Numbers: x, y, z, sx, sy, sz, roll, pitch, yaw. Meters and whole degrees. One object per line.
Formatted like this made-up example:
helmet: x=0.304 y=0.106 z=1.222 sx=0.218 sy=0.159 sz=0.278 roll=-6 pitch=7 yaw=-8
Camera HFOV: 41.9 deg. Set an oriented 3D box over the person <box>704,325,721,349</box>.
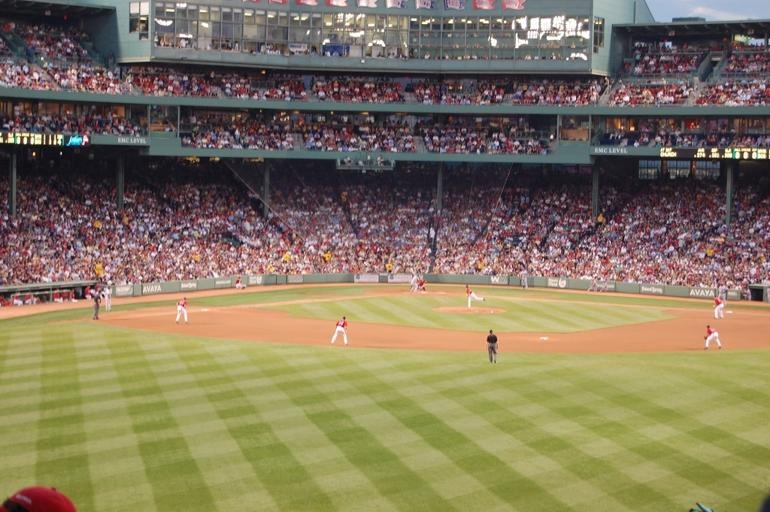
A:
person: x=22.391 y=5.821 z=69.035 sx=1.383 sy=0.644 sz=2.004 roll=7 pitch=32 yaw=6
